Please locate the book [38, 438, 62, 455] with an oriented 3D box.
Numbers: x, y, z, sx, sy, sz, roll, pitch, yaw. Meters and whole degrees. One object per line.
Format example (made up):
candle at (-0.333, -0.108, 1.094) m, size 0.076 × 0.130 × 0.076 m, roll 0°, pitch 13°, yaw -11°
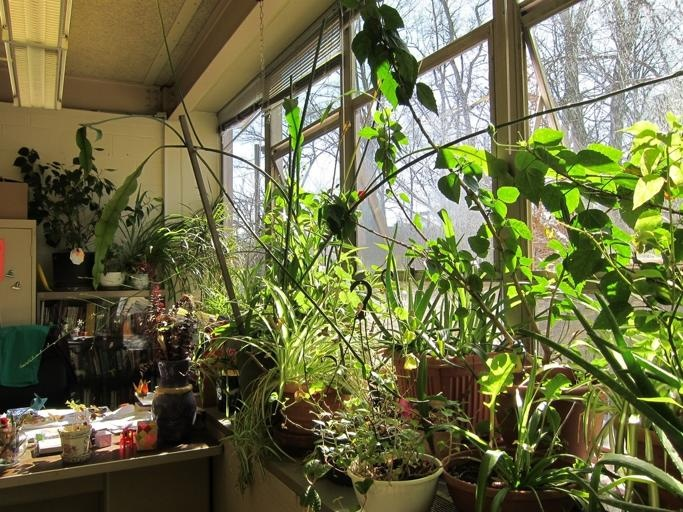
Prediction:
book at (-1.059, 0.697, 1.932) m, size 0.075 × 0.044 × 0.109 m, roll 5°, pitch -4°, yaw -30°
